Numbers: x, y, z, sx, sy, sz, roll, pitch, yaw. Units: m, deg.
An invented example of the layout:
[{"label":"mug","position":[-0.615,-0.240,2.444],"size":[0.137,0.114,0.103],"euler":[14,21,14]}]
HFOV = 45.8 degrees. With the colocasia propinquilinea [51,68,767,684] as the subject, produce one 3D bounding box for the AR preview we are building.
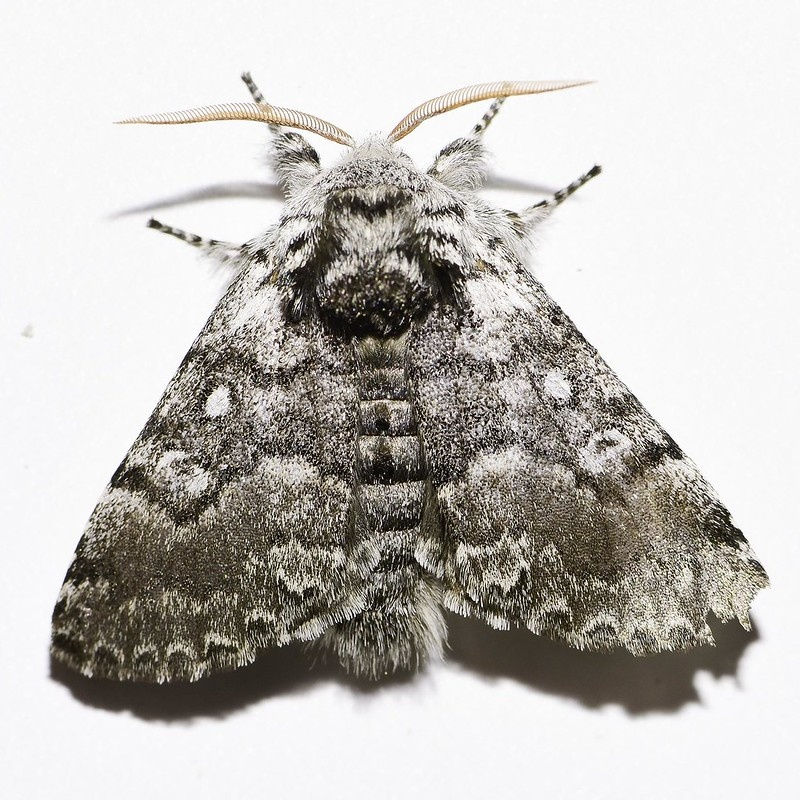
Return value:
[{"label":"colocasia propinquilinea","position":[0.008,0.000,2.193],"size":[1.360,1.168,0.765],"euler":[11,-37,-20]}]
